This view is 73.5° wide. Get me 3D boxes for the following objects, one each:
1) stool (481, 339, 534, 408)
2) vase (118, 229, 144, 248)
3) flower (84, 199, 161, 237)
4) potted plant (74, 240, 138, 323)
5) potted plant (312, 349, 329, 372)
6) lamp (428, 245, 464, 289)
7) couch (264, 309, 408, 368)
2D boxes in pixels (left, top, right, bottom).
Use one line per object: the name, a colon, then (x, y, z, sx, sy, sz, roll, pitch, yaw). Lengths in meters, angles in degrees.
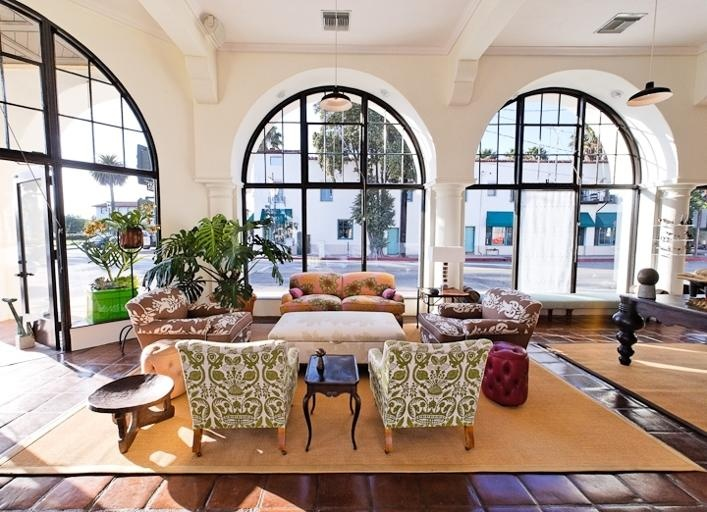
stool: (1.750, 1.420, 5.842, 0.635, 0.723, 0.640, -2, 6, -17)
vase: (-3.222, -0.252, 6.864, 0.287, 0.289, 0.290, 0, 4, -16)
flower: (-3.422, -0.549, 7.060, 0.756, 0.517, 0.579, -7, 7, -3)
potted plant: (-3.721, 0.385, 7.302, 1.011, 1.269, 0.589, -1, 8, -44)
potted plant: (-0.346, 1.127, 5.179, 0.198, 0.261, 0.200, 0, 2, 21)
lamp: (1.468, 0.164, 7.595, 0.660, 0.725, 0.692, 3, 3, 35)
couch: (-0.242, 1.291, 6.747, 1.962, 0.890, 1.431, 0, 3, -6)
